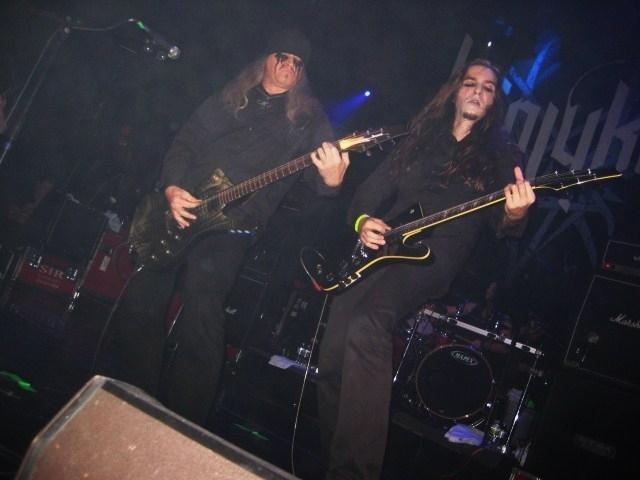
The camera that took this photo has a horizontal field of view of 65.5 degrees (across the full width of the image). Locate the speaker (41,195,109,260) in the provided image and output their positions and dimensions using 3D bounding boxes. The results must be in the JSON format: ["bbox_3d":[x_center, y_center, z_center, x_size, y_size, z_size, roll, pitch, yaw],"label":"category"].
[{"bbox_3d":[-2.607,-0.079,5.517,0.588,0.802,0.561,24,-8,-21],"label":"speaker"}]

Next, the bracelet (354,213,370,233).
[{"bbox_3d":[0.325,-0.133,4.033,0.093,0.131,0.133,34,-40,38],"label":"bracelet"}]
